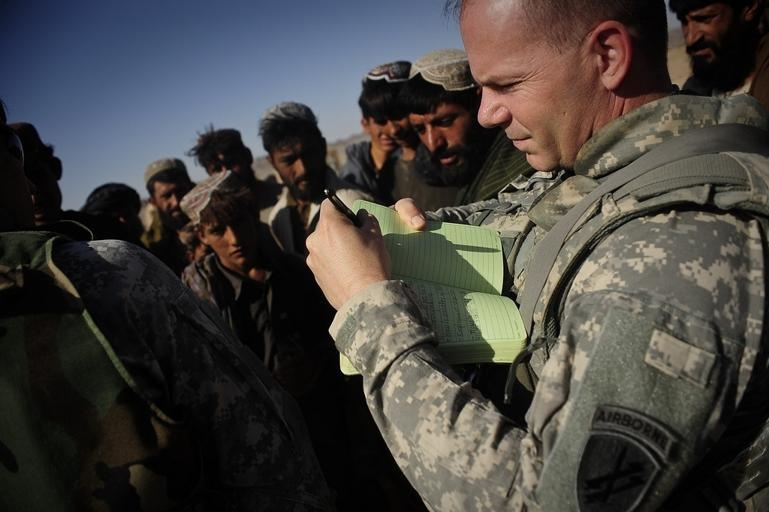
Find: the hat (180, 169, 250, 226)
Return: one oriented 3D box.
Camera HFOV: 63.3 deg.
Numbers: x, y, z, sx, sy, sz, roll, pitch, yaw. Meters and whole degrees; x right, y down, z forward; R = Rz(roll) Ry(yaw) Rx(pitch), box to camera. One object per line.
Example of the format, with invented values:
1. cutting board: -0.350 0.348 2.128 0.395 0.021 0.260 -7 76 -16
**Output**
1. hat: -0.786 -0.259 2.931 0.265 0.148 0.340 -31 17 31
